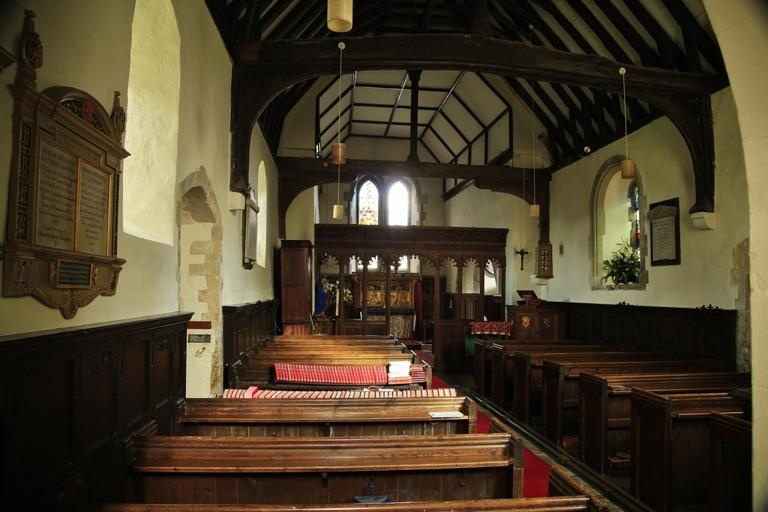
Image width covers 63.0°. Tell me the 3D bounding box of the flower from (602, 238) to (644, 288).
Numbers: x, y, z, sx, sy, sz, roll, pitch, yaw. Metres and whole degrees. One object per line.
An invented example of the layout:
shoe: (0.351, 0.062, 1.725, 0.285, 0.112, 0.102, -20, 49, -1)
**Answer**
flower: (4.527, 0.145, 11.793, 0.653, 0.872, 0.648, -6, 7, -31)

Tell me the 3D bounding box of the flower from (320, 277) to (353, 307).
flower: (-1.249, 0.988, 17.080, 0.776, 0.493, 0.812, 6, 7, 4)

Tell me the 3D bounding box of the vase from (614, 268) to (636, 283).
vase: (4.489, 0.388, 11.641, 0.129, 0.282, 0.522, 5, -5, -40)

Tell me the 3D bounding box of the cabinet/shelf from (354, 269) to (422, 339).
cabinet/shelf: (0.110, 1.365, 17.325, 1.693, 1.906, 0.698, 1, -8, -10)

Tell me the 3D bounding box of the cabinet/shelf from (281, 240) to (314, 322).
cabinet/shelf: (-1.993, 0.602, 13.297, 0.587, 1.835, 1.723, 5, -2, -11)
